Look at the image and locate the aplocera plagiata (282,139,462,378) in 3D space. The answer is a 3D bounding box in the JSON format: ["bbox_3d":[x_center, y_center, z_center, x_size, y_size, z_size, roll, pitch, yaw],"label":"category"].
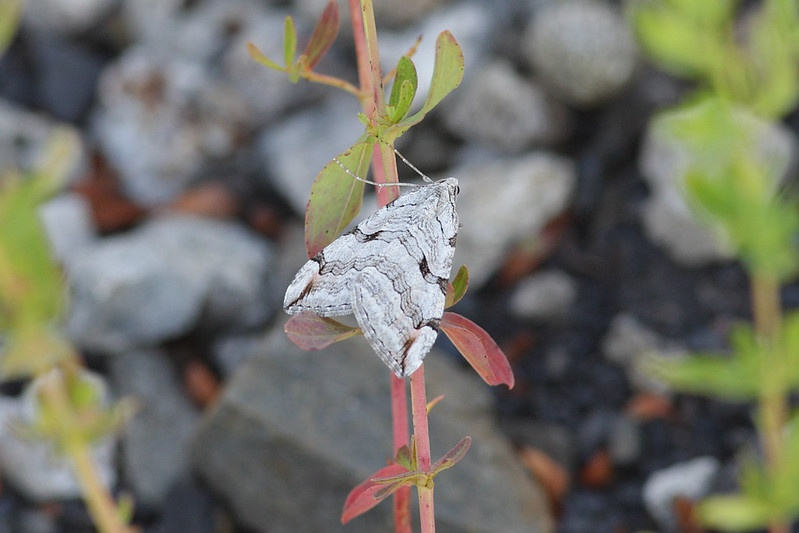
[{"bbox_3d":[-0.024,-0.012,1.336,0.169,0.038,0.230,18,73,4],"label":"aplocera plagiata"}]
